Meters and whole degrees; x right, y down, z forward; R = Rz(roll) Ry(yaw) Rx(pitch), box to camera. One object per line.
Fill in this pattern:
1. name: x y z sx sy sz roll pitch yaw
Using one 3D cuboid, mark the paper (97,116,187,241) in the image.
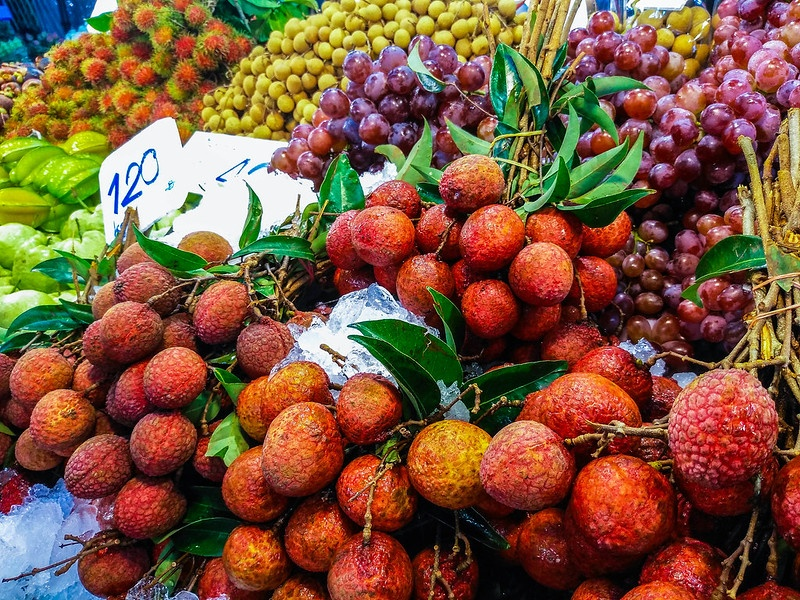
1. paper: -0.781 -0.354 2.157 0.357 0.036 0.369 -25 61 15
